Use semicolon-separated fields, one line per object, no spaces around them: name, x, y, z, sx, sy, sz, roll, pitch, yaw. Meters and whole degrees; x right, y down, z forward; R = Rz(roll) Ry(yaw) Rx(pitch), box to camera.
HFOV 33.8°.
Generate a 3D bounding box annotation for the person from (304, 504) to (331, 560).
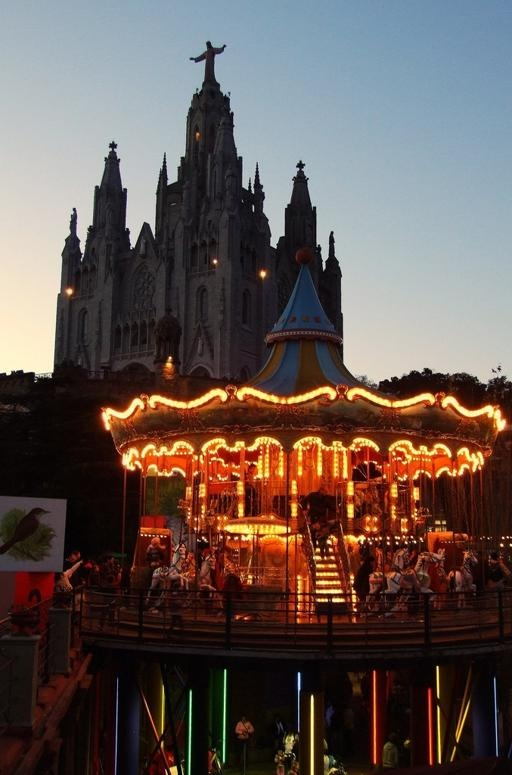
person;1.067;2.537;14.909;0.454;0.920;0.460;0;-7;12
